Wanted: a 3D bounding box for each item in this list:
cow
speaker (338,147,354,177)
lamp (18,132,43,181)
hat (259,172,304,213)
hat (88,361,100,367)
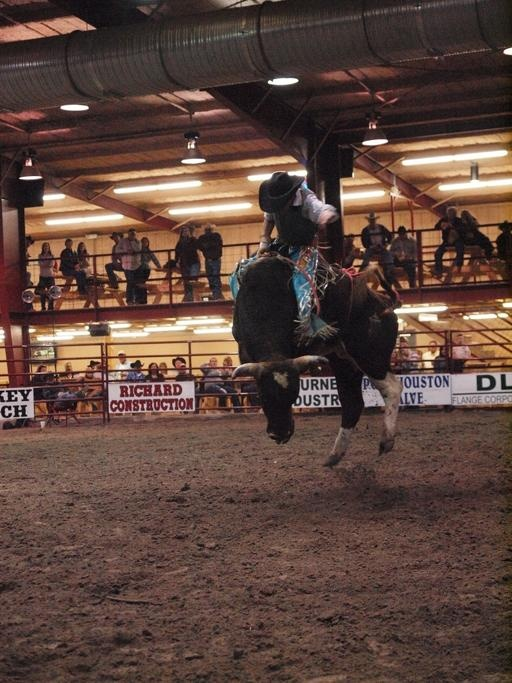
[{"bbox_3d":[0.606,0.272,6.278,1.221,1.497,2.868,-4,1,11],"label":"cow"},{"bbox_3d":[2.437,-4.840,19.624,0.358,0.640,0.364,-4,1,11],"label":"speaker"},{"bbox_3d":[-6.073,-4.832,19.680,0.522,1.192,2.591,-5,2,-16],"label":"lamp"},{"bbox_3d":[0.195,-1.275,6.188,0.395,0.276,0.362,-3,1,13],"label":"hat"},{"bbox_3d":[-5.076,0.726,22.996,0.533,0.112,0.486,0,-4,-23],"label":"hat"}]
